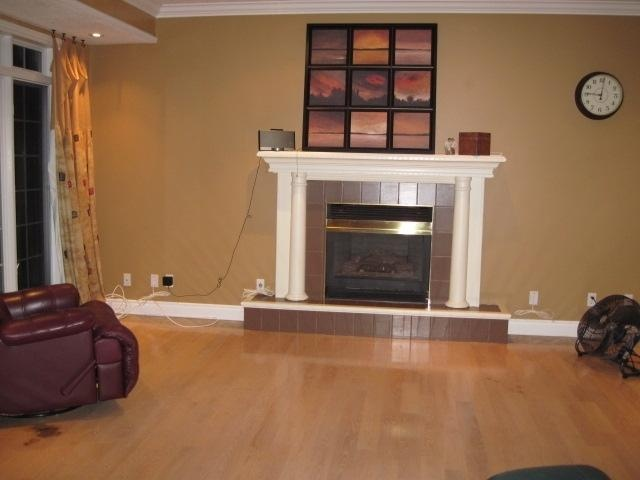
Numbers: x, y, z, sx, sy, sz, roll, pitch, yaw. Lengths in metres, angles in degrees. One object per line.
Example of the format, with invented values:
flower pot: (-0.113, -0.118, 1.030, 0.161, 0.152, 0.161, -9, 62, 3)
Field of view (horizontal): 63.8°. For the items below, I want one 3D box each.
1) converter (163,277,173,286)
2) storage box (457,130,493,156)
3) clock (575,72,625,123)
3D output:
converter: (-1.601, 0.437, 5.397, 0.089, 0.097, 0.095, 1, 1, -3)
storage box: (1.393, -0.861, 4.613, 0.327, 0.265, 0.186, 1, 6, 15)
clock: (2.607, -1.349, 4.741, 0.088, 0.426, 0.417, -27, 9, -30)
